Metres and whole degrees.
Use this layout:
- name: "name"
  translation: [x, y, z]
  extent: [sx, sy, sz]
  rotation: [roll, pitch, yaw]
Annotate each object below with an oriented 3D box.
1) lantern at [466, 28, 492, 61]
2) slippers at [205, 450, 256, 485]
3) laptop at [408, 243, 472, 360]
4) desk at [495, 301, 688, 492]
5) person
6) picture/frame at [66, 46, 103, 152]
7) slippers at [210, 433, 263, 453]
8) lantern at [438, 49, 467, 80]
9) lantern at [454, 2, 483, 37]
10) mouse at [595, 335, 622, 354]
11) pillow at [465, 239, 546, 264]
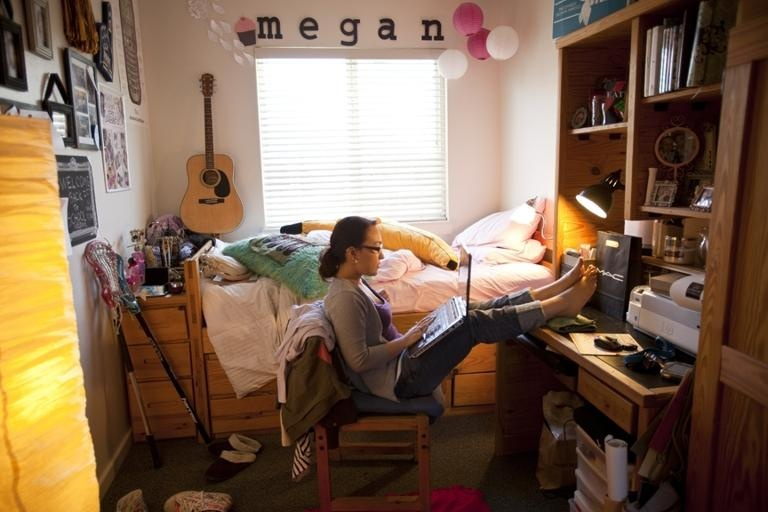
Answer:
- name: "lantern"
  translation: [0.684, -1.523, 3.881]
  extent: [0.195, 0.226, 0.201]
  rotation: [-2, 13, -5]
- name: "slippers"
  translation: [-0.877, 1.198, 3.066]
  extent: [0.193, 0.072, 0.261]
  rotation: [2, 13, 23]
- name: "laptop"
  translation: [0.294, 0.214, 2.754]
  extent: [0.408, 0.443, 0.618]
  rotation: [-7, 7, -4]
- name: "desk"
  translation: [0.959, 0.643, 2.477]
  extent: [0.580, 0.821, 0.854]
  rotation: [0, 14, -13]
- name: "person"
  translation: [0.383, 0.232, 2.763]
  extent: [1.357, 0.875, 0.610]
  rotation: [-5, 8, -7]
- name: "picture/frame"
  translation: [-1.726, -0.885, 3.100]
  extent: [0.077, 0.548, 0.445]
  rotation: [-6, 12, -15]
- name: "slippers"
  translation: [-0.891, 1.139, 3.255]
  extent: [0.239, 0.099, 0.128]
  rotation: [6, 2, -3]
- name: "lantern"
  translation: [0.526, -1.481, 4.140]
  extent: [0.179, 0.216, 0.133]
  rotation: [-10, 14, -31]
- name: "lantern"
  translation: [0.592, -1.680, 3.812]
  extent: [0.188, 0.222, 0.161]
  rotation: [-2, 12, 7]
- name: "mouse"
  translation: [1.012, 0.399, 2.428]
  extent: [0.099, 0.036, 0.122]
  rotation: [-9, 13, -23]
- name: "pillow"
  translation: [0.894, -0.009, 3.925]
  extent: [0.347, 0.112, 0.353]
  rotation: [-2, 11, -4]
